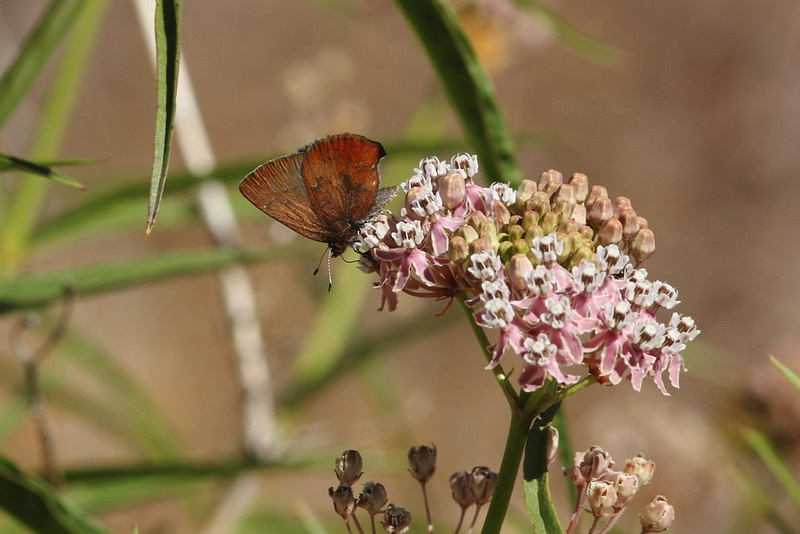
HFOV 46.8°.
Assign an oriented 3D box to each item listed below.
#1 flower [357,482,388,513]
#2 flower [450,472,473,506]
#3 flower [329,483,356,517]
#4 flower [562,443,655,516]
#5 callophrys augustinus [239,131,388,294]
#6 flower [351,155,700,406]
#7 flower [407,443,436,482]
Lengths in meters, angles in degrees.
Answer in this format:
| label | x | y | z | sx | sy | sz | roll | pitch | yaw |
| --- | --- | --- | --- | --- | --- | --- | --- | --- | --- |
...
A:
| label | x | y | z | sx | sy | sz | roll | pitch | yaw |
| --- | --- | --- | --- | --- | --- | --- | --- | --- | --- |
| flower | -0.056 | 0.495 | 1.966 | 0.070 | 0.063 | 0.072 | -9 | -89 | 5 |
| flower | 0.129 | 0.459 | 1.913 | 0.048 | 0.059 | 0.056 | 0 | -50 | 4 |
| flower | -0.121 | 0.501 | 1.960 | 0.064 | 0.069 | 0.063 | -12 | -23 | 22 |
| flower | 0.438 | 0.430 | 1.951 | 0.145 | 0.148 | 0.126 | 27 | -75 | 34 |
| callophrys augustinus | -0.124 | -0.134 | 2.064 | 0.340 | 0.273 | 0.299 | -19 | -88 | 54 |
| flower | 0.269 | 0.054 | 1.885 | 0.526 | 0.529 | 0.234 | 34 | -75 | 10 |
| flower | 0.048 | 0.422 | 1.969 | 0.060 | 0.088 | 0.058 | 10 | -31 | -21 |
